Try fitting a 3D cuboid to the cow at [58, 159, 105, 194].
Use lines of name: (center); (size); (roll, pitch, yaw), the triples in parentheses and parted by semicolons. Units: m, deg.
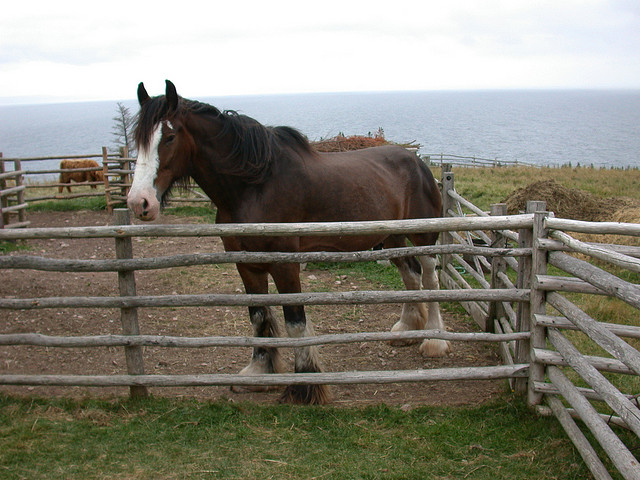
cow: (-7.642, -2.044, 18.795); (2.112, 1.093, 0.594); (3, 4, 28)
